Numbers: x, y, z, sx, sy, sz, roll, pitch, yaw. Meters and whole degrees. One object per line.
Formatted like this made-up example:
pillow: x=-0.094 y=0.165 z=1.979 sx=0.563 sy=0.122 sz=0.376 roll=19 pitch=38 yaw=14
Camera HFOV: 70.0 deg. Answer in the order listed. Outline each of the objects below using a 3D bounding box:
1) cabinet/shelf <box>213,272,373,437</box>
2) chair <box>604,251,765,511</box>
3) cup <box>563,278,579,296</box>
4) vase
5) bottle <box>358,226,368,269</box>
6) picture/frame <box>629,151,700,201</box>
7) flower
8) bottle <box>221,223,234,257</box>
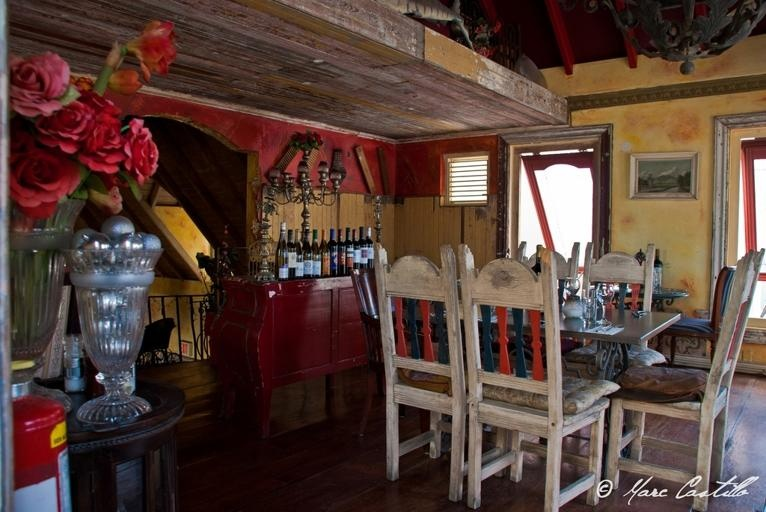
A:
cabinet/shelf: x=-0.732 y=0.677 z=4.343 sx=0.665 sy=1.039 sz=1.054 roll=5 pitch=7 yaw=40
chair: x=1.772 y=0.656 z=3.196 sx=0.662 sy=1.395 sz=0.792 roll=4 pitch=7 yaw=35
cup: x=1.349 y=0.215 z=3.904 sx=0.121 sy=0.125 sz=0.160 roll=-2 pitch=-12 yaw=8
vase: x=-0.934 y=0.071 z=1.531 sx=0.186 sy=0.461 sz=0.072 roll=-4 pitch=7 yaw=-35
bottle: x=-0.172 y=-0.028 z=4.986 sx=0.075 sy=0.251 sz=0.194 roll=0 pitch=5 yaw=-2
picture/frame: x=2.949 y=-0.836 z=5.652 sx=0.549 sy=0.448 sz=0.043 roll=1 pitch=1 yaw=30
flower: x=-0.791 y=-0.389 z=1.503 sx=0.405 sy=0.545 sz=0.162 roll=-4 pitch=7 yaw=-36
bottle: x=-1.797 y=-0.190 z=6.378 sx=0.211 sy=0.363 sz=0.382 roll=0 pitch=-5 yaw=-11
